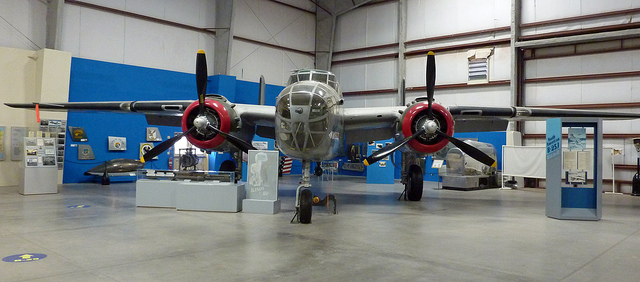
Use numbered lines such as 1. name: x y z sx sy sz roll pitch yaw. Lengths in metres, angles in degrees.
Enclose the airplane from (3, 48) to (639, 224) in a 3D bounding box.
1. airplane: -0.380 -0.308 22.681 27.225 8.810 4.415 0 -1 -2
